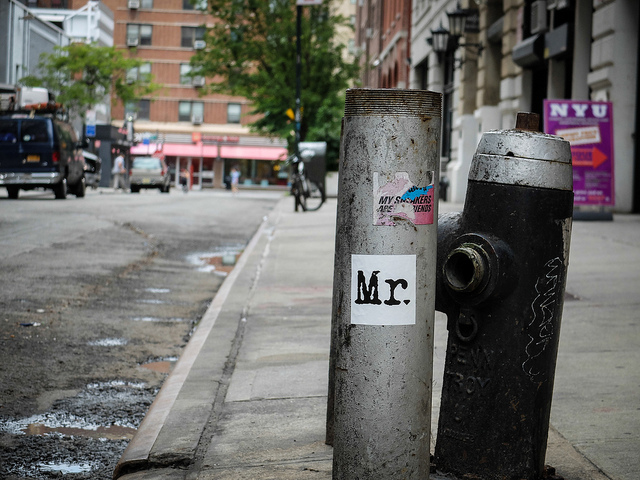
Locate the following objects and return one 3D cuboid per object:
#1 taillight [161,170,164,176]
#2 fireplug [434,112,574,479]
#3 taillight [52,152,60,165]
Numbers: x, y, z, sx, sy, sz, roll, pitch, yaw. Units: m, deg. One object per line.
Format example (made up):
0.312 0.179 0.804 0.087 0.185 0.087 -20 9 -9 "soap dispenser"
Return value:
-5.390 -2.332 32.150 0.119 0.237 0.144 1 1 1 "taillight"
0.994 0.315 5.157 0.717 2.019 0.325 3 9 16 "fireplug"
-4.431 -1.391 15.737 0.127 0.171 0.266 -2 -8 -14 "taillight"
